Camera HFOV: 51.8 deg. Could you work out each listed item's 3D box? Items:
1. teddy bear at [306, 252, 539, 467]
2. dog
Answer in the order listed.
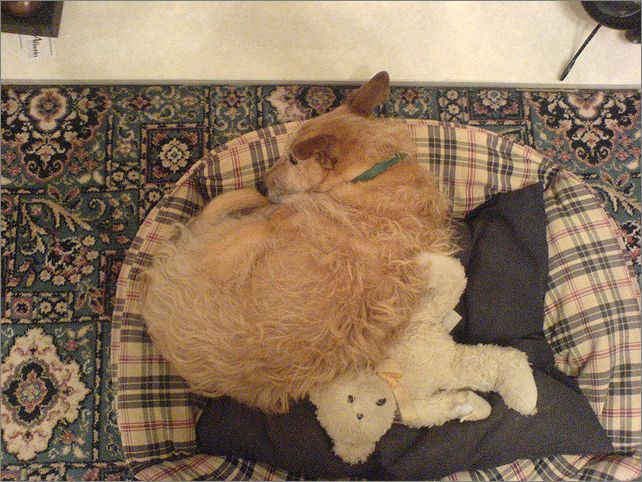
[{"bbox_3d":[0.253,0.363,2.021,0.753,0.250,0.605,-21,82,-31],"label":"teddy bear"},{"bbox_3d":[0.121,0.026,2.316,1.155,0.561,0.818,-43,83,1],"label":"dog"}]
